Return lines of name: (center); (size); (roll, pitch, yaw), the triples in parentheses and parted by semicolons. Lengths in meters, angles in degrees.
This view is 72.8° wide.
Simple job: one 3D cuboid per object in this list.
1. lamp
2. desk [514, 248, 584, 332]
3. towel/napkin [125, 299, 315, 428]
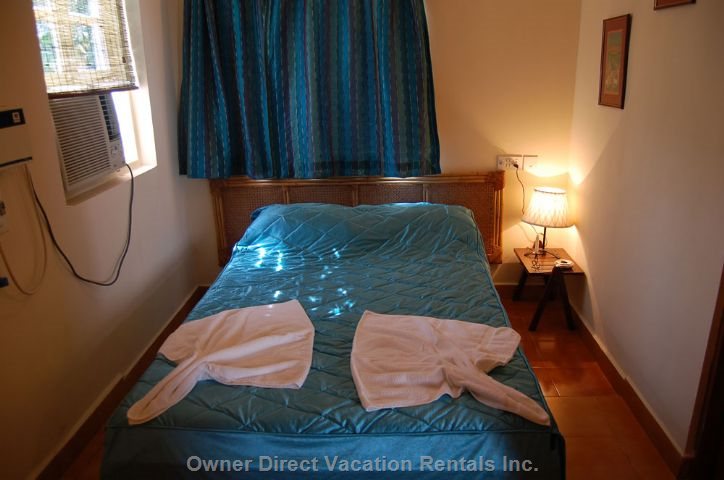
lamp: (1.452, -0.131, 3.868); (0.364, 0.654, 0.358); (9, 36, 20)
desk: (1.423, 0.249, 3.907); (0.479, 0.670, 0.967); (-1, 16, 10)
towel/napkin: (-0.723, 0.624, 2.681); (0.934, 0.273, 0.668); (-4, 18, -10)
